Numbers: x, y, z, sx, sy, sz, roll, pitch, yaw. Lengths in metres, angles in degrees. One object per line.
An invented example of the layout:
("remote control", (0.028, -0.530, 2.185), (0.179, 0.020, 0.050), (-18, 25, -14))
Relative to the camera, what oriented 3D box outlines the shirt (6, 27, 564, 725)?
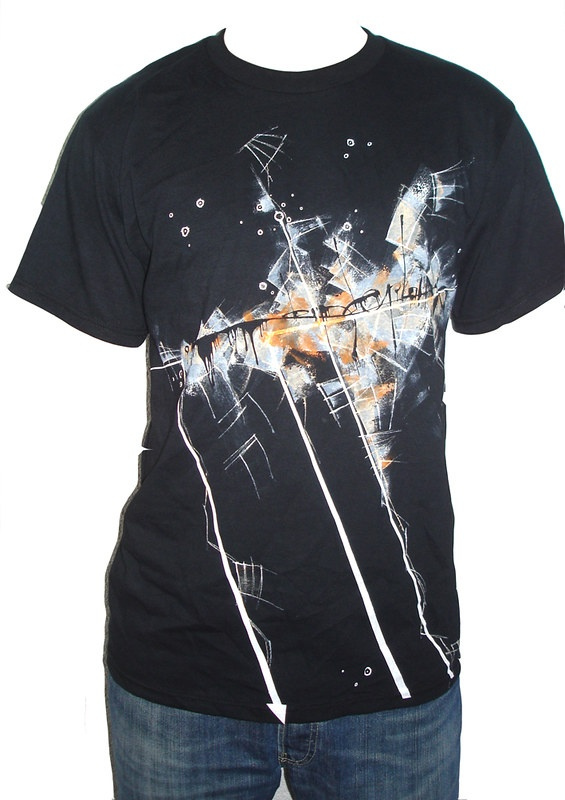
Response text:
("shirt", (0.024, -0.037, 1.362), (0.909, 1.107, 0.361), (-5, -12, 10))
